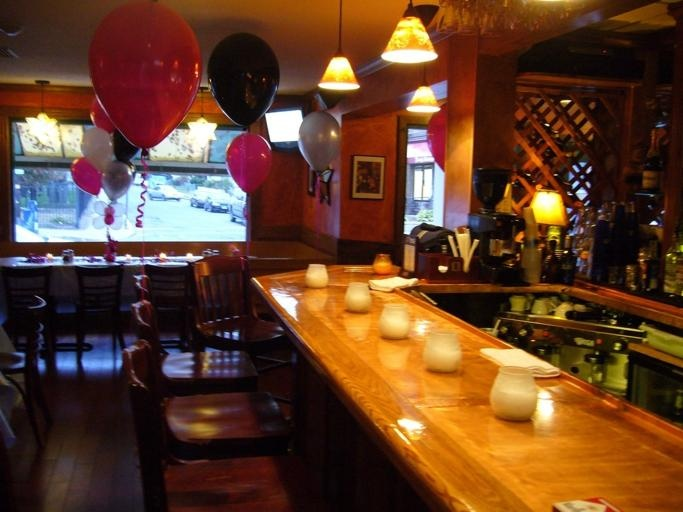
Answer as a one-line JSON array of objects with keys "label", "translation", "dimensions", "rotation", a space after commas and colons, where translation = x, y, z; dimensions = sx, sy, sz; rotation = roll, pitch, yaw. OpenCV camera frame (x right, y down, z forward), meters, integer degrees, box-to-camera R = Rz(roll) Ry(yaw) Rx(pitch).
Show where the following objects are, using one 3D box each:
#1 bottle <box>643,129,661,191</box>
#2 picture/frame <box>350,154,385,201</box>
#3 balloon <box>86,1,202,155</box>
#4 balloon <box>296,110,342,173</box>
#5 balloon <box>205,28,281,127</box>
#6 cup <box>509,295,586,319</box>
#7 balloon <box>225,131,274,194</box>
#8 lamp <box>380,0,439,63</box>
[{"label": "bottle", "translation": [2.425, -0.746, 4.337], "dimensions": [0.133, 0.484, 0.233], "rotation": [9, 12, 27]}, {"label": "picture/frame", "translation": [0.313, -1.042, 7.321], "dimensions": [0.688, 0.749, 0.055], "rotation": [-2, 6, -7]}, {"label": "balloon", "translation": [-0.963, -0.912, 3.065], "dimensions": [0.753, 0.818, 0.692], "rotation": [1, 7, -19]}, {"label": "balloon", "translation": [-0.218, -1.177, 5.778], "dimensions": [0.525, 0.609, 0.511], "rotation": [12, 11, 36]}, {"label": "balloon", "translation": [-0.666, -1.446, 4.830], "dimensions": [0.760, 0.835, 0.707], "rotation": [2, 1, 2]}, {"label": "cup", "translation": [1.091, 0.276, 3.028], "dimensions": [0.160, 0.060, 0.271], "rotation": [-1, 3, -30]}, {"label": "balloon", "translation": [-0.970, -0.959, 5.883], "dimensions": [0.651, 0.716, 0.582], "rotation": [1, 3, -19]}, {"label": "lamp", "translation": [0.362, -1.183, 2.897], "dimensions": [0.256, 0.308, 0.264], "rotation": [11, 13, 37]}]
